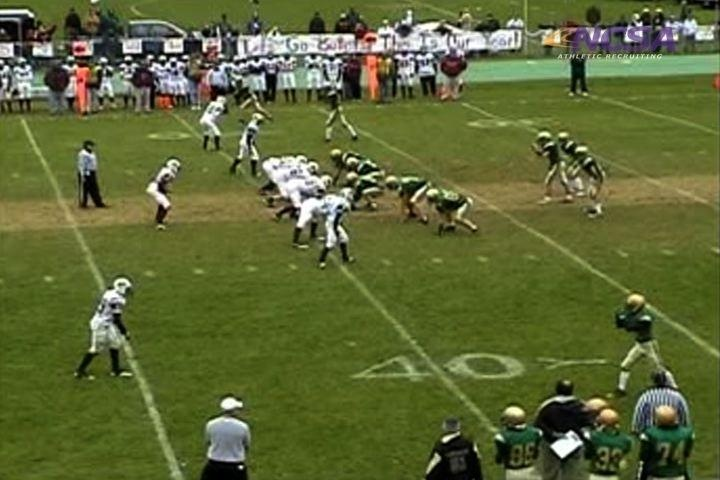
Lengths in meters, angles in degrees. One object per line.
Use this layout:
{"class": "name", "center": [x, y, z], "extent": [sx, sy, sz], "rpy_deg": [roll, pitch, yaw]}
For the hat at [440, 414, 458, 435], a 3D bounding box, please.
{"class": "hat", "center": [2.524, 5.102, 39.416], "extent": [0.395, 0.493, 0.394], "rpy_deg": [-2, 11, 11]}
